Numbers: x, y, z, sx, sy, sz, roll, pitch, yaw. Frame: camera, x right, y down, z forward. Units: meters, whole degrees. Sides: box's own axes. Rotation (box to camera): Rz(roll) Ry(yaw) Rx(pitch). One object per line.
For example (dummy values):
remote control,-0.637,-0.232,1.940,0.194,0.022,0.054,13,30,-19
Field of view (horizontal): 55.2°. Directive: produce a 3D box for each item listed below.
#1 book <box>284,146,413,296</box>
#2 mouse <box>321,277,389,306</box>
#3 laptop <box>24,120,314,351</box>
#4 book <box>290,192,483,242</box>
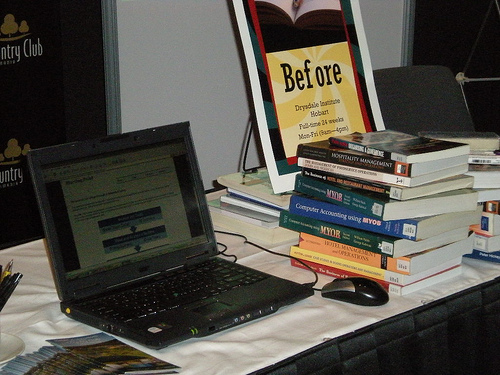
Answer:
book,0.245,0.069,1.107,0.368,0.279,0.084,9,7,32
mouse,0.225,0.214,1.015,0.120,0.030,0.060,4,7,25
laptop,-0.176,0.077,0.997,0.418,0.389,0.350,-15,16,-36
book,0.338,0.027,1.154,0.383,0.037,0.342,3,8,28
